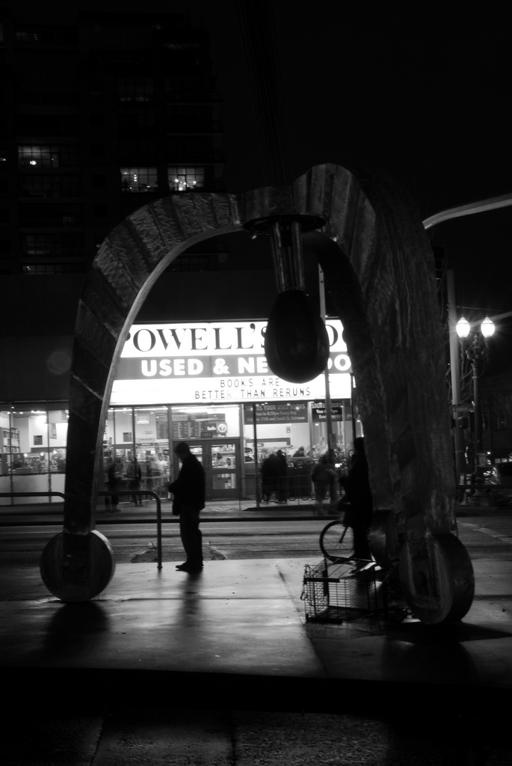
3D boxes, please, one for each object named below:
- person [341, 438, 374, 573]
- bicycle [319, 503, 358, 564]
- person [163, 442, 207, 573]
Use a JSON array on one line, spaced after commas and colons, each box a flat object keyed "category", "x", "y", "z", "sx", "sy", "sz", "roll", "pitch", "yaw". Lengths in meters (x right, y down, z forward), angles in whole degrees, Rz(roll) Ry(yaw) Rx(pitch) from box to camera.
[{"category": "person", "x": 1.419, "y": 1.627, "z": 9.846, "sx": 0.391, "sy": 1.705, "sz": 0.856, "roll": -1, "pitch": -5, "yaw": 7}, {"category": "bicycle", "x": 1.491, "y": 2.860, "z": 12.412, "sx": 0.714, "sy": 0.957, "sz": 0.129, "roll": 9, "pitch": 29, "yaw": 3}, {"category": "person", "x": -1.138, "y": 1.993, "z": 11.221, "sx": 0.562, "sy": 2.028, "sz": 1.185, "roll": 0, "pitch": -5, "yaw": -6}]
